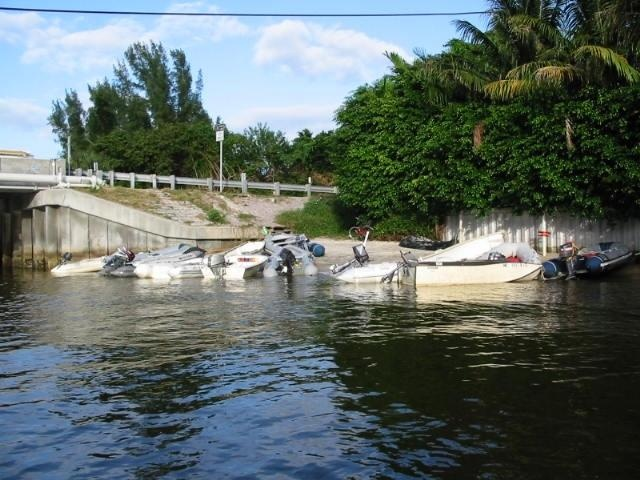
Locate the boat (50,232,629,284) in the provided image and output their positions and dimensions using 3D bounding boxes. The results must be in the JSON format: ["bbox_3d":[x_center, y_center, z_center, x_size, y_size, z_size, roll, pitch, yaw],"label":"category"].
[{"bbox_3d":[0.906,0.779,34.983,14.680,1.767,2.264,-1,4,24],"label":"boat"}]
